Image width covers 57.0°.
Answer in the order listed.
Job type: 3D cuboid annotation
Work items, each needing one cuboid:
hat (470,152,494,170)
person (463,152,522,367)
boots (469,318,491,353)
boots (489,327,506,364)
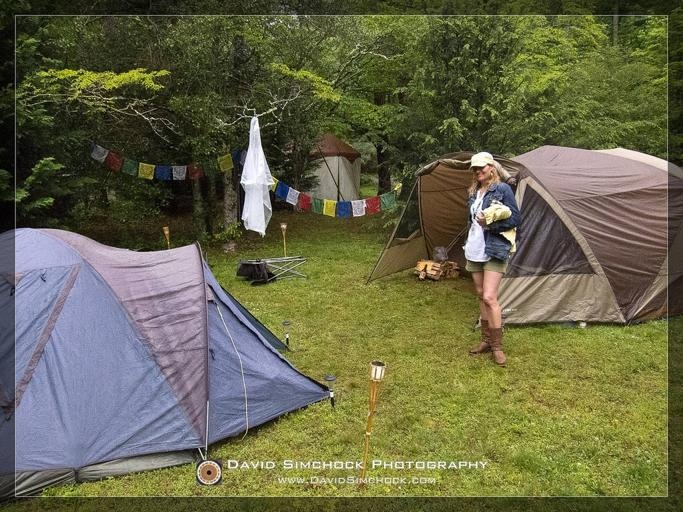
[{"bbox_3d":[1.791,-1.210,8.024,0.256,0.136,0.179,-10,7,-43],"label":"hat"},{"bbox_3d":[1.879,0.050,8.133,0.676,2.701,0.607,8,16,35],"label":"person"},{"bbox_3d":[1.921,1.100,8.553,0.410,0.451,0.215,-8,14,-24],"label":"boots"},{"bbox_3d":[2.035,1.193,8.261,0.165,0.439,0.456,-3,13,0],"label":"boots"}]
